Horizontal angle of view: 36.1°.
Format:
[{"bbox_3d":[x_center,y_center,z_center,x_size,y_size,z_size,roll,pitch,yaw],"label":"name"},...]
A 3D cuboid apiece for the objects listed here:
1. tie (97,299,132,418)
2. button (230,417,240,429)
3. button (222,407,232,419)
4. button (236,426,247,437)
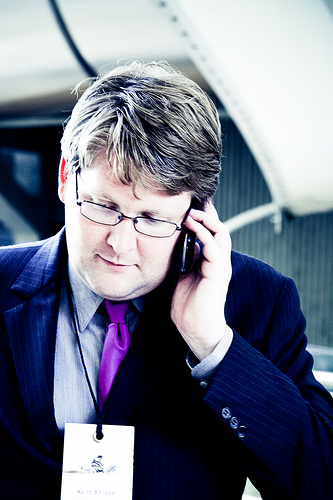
[{"bbox_3d":[-0.139,0.256,1.254,0.066,0.034,0.290,16,54,-4],"label":"tie"},{"bbox_3d":[0.159,0.400,1.179,0.023,0.005,0.021,-7,75,-14],"label":"button"},{"bbox_3d":[0.139,0.377,1.185,0.023,0.009,0.024,37,64,19],"label":"button"},{"bbox_3d":[0.173,0.418,1.179,0.024,0.024,0.023,-2,74,25],"label":"button"}]
